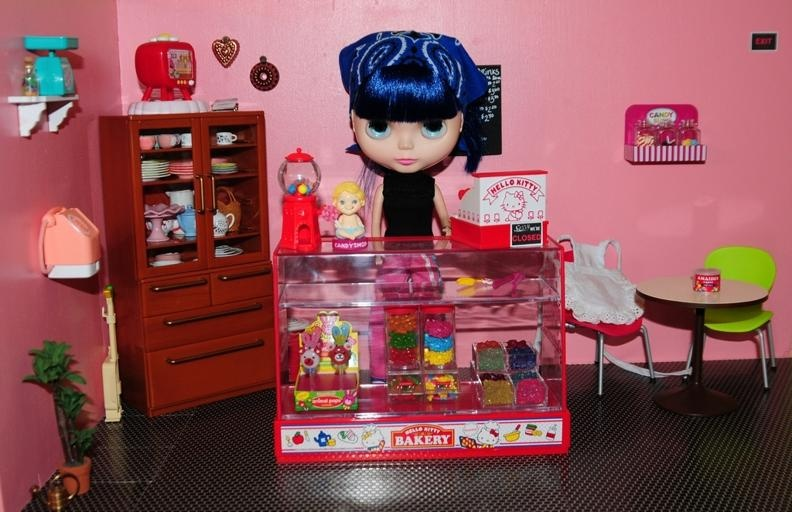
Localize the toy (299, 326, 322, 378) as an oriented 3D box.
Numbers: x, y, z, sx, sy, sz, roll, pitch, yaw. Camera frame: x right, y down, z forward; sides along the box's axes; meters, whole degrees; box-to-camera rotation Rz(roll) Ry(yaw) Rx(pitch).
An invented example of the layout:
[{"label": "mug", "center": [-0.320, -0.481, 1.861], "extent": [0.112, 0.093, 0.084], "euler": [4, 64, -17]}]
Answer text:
[{"label": "toy", "center": [-0.690, 0.767, 5.009], "extent": [0.177, 0.383, 0.150], "euler": [-3, 13, -1]}]

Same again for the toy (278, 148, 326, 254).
[{"label": "toy", "center": [-0.758, -0.400, 4.783], "extent": [0.347, 0.683, 0.321], "euler": [-5, 13, -7]}]

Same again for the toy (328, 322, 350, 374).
[{"label": "toy", "center": [-0.456, 0.744, 5.031], "extent": [0.164, 0.399, 0.158], "euler": [-2, 13, 6]}]

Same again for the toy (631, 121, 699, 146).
[{"label": "toy", "center": [2.478, -1.137, 5.641], "extent": [0.609, 0.236, 0.100], "euler": [-4, 13, -2]}]
